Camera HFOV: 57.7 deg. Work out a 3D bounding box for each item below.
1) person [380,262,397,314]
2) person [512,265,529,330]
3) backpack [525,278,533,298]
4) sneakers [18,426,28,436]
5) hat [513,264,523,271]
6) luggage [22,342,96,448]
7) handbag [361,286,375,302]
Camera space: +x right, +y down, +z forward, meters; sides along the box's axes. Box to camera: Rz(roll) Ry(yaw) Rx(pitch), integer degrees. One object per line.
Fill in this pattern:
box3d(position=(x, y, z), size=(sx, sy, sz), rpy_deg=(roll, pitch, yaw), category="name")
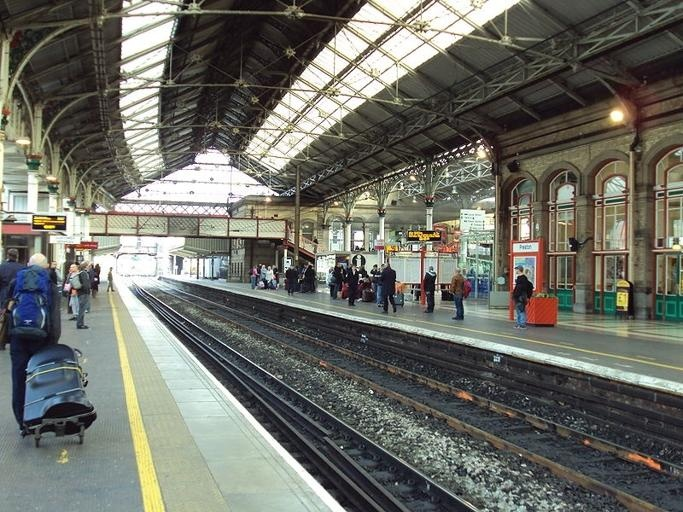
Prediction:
box3d(position=(1.750, 1.192, 22.867), size=(0.666, 1.731, 1.023), rpy_deg=(6, 1, 5), category="person")
box3d(position=(5.247, 1.192, 18.080), size=(0.531, 1.797, 1.243), rpy_deg=(7, 1, 17), category="person")
box3d(position=(5.462, 0.976, 17.983), size=(0.128, 0.542, 0.832), rpy_deg=(7, 1, 23), category="backpack")
box3d(position=(-4.253, 2.354, 8.315), size=(0.103, 0.120, 0.282), rpy_deg=(2, -5, -35), category="sneakers")
box3d(position=(5.149, 0.361, 18.086), size=(0.180, 0.218, 0.225), rpy_deg=(7, 8, 1), category="hat")
box3d(position=(-3.863, 1.781, 8.411), size=(0.905, 0.688, 1.613), rpy_deg=(-5, 28, -24), category="luggage")
box3d(position=(1.239, 1.811, 28.613), size=(0.604, 0.644, 0.498), rpy_deg=(0, 0, -16), category="handbag")
